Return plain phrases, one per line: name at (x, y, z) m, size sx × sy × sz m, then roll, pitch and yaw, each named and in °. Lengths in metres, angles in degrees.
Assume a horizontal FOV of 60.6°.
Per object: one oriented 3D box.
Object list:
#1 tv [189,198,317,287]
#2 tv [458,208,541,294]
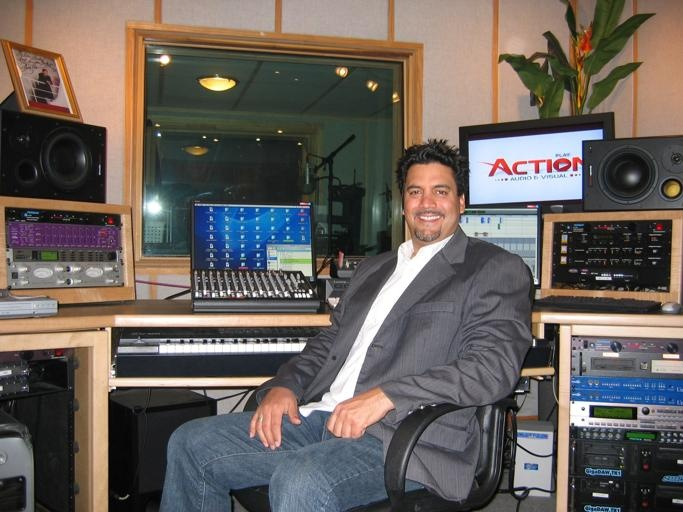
tv at (-0.448, -0.097, 2.978) m, size 0.622 × 0.398 × 0.066 m, roll 2°, pitch 20°, yaw -1°
tv at (0.839, -0.091, 3.087) m, size 0.120 × 0.383 × 0.573 m, roll 10°, pitch 10°, yaw -36°
